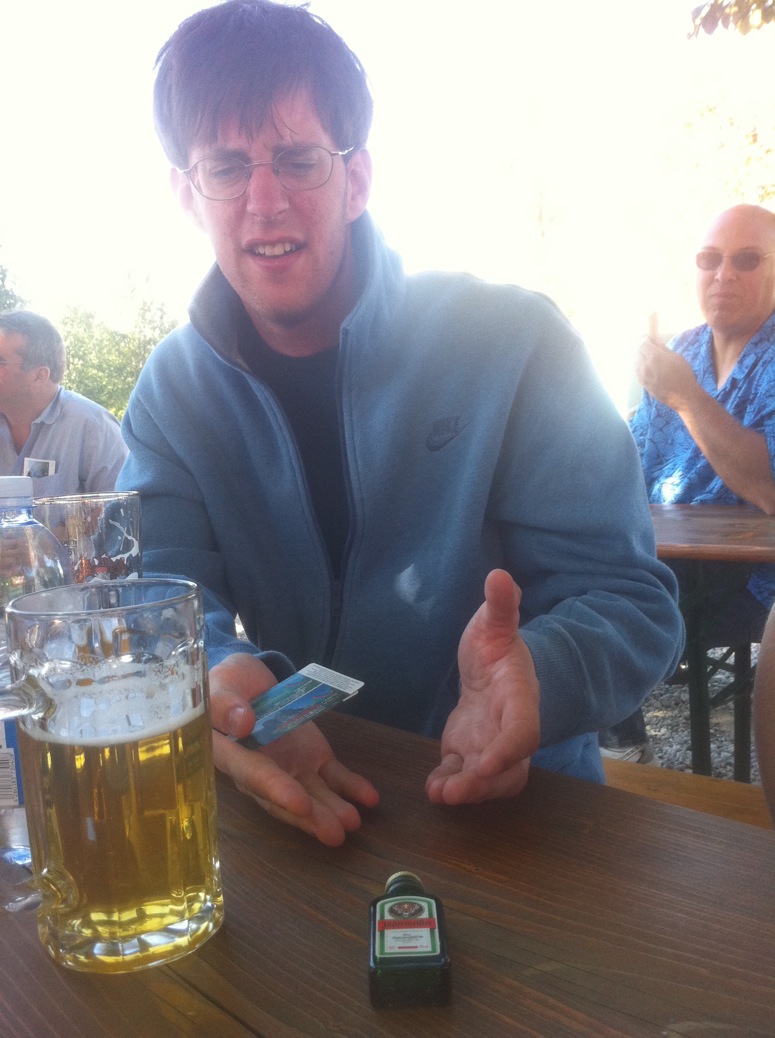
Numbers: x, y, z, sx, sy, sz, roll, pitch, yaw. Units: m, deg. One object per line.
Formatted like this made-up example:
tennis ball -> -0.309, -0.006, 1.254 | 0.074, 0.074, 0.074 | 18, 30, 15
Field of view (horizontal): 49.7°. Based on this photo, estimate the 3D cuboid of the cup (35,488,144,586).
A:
cup -> -0.404, 0.017, 1.157 | 0.120, 0.140, 0.121 | -1, 4, 0

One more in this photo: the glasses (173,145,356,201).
glasses -> -0.188, -0.545, 1.306 | 0.220, 0.078, 0.059 | -4, 7, -2

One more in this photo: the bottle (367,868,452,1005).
bottle -> 0.014, 0.284, 0.549 | 0.051, 0.030, 0.074 | -3, 7, 1

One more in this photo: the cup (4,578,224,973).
cup -> -0.193, 0.178, 0.602 | 0.131, 0.252, 0.178 | -5, 7, -14
